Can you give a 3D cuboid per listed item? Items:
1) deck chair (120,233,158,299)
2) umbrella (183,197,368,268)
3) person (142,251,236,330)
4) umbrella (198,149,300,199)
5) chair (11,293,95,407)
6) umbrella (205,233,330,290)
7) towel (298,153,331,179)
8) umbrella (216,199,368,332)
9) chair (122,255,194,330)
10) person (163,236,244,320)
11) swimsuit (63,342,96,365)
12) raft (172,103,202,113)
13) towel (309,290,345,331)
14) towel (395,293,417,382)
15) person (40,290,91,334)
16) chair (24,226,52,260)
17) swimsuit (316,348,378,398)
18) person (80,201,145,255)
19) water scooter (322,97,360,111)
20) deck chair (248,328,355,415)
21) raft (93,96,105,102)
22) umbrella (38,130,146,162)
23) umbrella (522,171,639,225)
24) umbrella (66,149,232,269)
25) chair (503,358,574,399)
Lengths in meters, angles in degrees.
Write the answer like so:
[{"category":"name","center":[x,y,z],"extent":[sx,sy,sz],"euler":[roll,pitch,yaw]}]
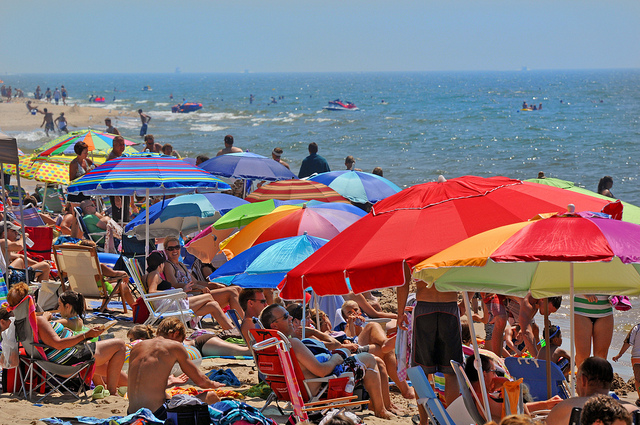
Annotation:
[{"category":"deck chair","center":[-3.303,0.855,16.758],"extent":[0.720,0.933,0.687],"euler":[3,-1,-1]},{"category":"umbrella","center":[-0.387,0.204,15.861],"extent":[1.857,0.632,2.016],"euler":[11,4,-15]},{"category":"person","center":[-2.052,1.314,15.262],"extent":[1.647,1.536,0.830],"euler":[-3,9,10]},{"category":"umbrella","center":[-1.570,-0.781,19.589],"extent":[1.029,0.678,1.028],"euler":[5,-1,5]},{"category":"chair","center":[-3.710,2.038,13.150],"extent":[1.009,1.488,1.014],"euler":[1,-7,-21]},{"category":"umbrella","center":[-0.333,0.759,14.547],"extent":[2.642,0.835,2.453],"euler":[0,-4,24]},{"category":"towel","center":[-0.183,-1.024,20.783],"extent":[0.709,0.620,0.354],"euler":[-5,-4,-31]},{"category":"umbrella","center":[-0.730,0.736,14.919],"extent":[4.132,2.195,1.876],"euler":[-4,-3,42]},{"category":"chair","center":[-2.625,1.346,15.112],"extent":[1.068,1.340,0.853],"euler":[0,7,-15]},{"category":"person","center":[-1.884,1.167,15.430],"extent":[1.802,1.174,0.746],"euler":[15,17,28]},{"category":"swimsuit","center":[-3.348,1.940,12.921],"extent":[0.380,0.233,0.138],"euler":[-33,56,-15]},{"category":"raft","center":[-11.527,-9.214,82.329],"extent":[1.754,0.725,0.673],"euler":[-1,7,-11]},{"category":"towel","center":[0.069,1.463,14.888],"extent":[0.891,0.730,0.450],"euler":[2,-1,18]},{"category":"towel","center":[1.156,1.696,12.730],"extent":[0.311,1.179,0.313],"euler":[1,-3,0]},{"category":"person","center":[-3.763,1.501,13.398],"extent":[0.728,0.698,0.547],"euler":[-1,-3,-3]},{"category":"chair","center":[-5.329,0.630,17.345],"extent":[0.511,0.668,0.542],"euler":[-6,-4,18]},{"category":"swimsuit","center":[0.313,2.120,12.536],"extent":[0.659,0.259,0.494],"euler":[-34,25,-33]},{"category":"person","center":[-3.835,0.254,17.238],"extent":[1.368,1.296,0.815],"euler":[2,6,10]},{"category":"water scooter","center":[1.851,-9.120,79.809],"extent":[1.501,0.739,3.134],"euler":[6,8,38]},{"category":"deck chair","center":[-0.253,2.038,12.506],"extent":[1.269,1.158,0.886],"euler":[-1,-2,-29]},{"category":"raft","center":[-24.934,-12.699,104.526],"extent":[1.132,0.548,1.611],"euler":[0,2,-11]},{"category":"umbrella","center":[-5.365,-1.572,21.097],"extent":[1.119,0.438,1.164],"euler":[-16,13,-25]},{"category":"umbrella","center":[4.148,-0.428,14.730],"extent":[1.433,1.182,2.854],"euler":[1,-1,-1]},{"category":"umbrella","center":[-3.133,-0.008,16.922],"extent":[1.903,2.231,4.696],"euler":[2,-4,-29]},{"category":"chair","center":[2.884,2.182,12.405],"extent":[0.526,0.600,0.675],"euler":[-1,4,19]}]
